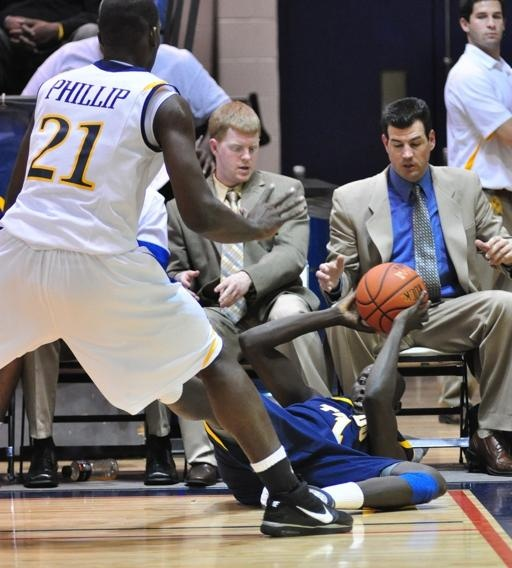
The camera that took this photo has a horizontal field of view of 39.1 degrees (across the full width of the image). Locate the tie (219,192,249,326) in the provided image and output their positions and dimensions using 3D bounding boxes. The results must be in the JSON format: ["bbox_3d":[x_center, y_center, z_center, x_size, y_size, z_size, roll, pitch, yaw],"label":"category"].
[{"bbox_3d":[-0.098,-0.125,3.074,0.111,0.615,0.090,-1,-10,-20],"label":"tie"}]

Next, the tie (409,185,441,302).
[{"bbox_3d":[0.729,-0.171,3.117,0.076,0.556,0.102,5,-21,-18],"label":"tie"}]

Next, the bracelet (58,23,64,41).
[{"bbox_3d":[-1.319,-1.693,4.881,0.025,0.085,0.087,5,-32,-18],"label":"bracelet"}]

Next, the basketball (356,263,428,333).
[{"bbox_3d":[0.459,0.063,2.494,0.276,0.282,0.276,3,4,17],"label":"basketball"}]

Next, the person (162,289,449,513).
[{"bbox_3d":[0.220,0.345,2.189,0.537,0.294,0.835,6,6,29],"label":"person"}]
